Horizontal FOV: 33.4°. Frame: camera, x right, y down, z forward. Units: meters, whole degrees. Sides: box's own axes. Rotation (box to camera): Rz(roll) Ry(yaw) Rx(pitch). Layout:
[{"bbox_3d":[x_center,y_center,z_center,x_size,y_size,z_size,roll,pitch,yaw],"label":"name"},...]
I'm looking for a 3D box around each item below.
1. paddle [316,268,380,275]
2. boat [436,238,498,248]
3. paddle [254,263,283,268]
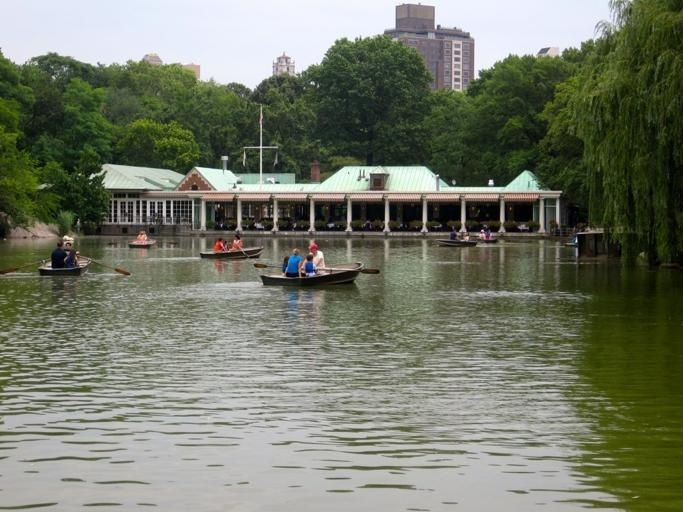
[{"bbox_3d":[0.158,0.623,43.209,2.221,0.234,0.169,-4,1,18],"label":"paddle"},{"bbox_3d":[8.378,-0.774,76.006,3.508,0.483,0.828,0,0,5],"label":"boat"},{"bbox_3d":[-3.226,0.483,50.084,1.622,0.215,0.079,6,8,39],"label":"paddle"}]
